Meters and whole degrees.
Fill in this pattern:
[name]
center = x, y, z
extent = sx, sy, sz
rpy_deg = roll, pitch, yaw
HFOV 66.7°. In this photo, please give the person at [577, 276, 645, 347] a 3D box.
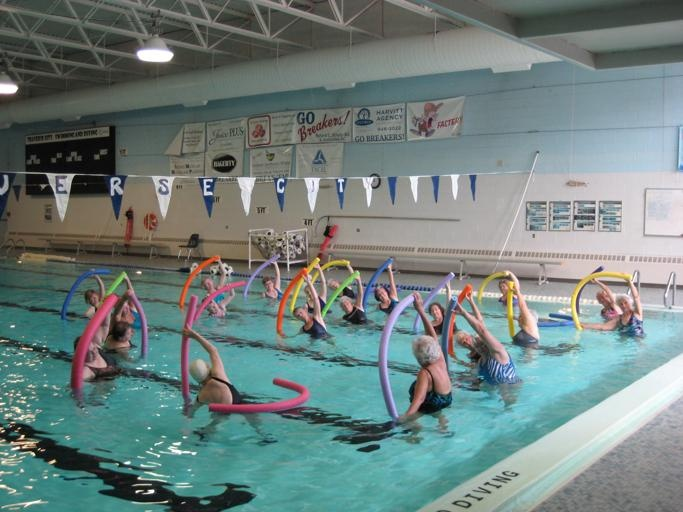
[person]
center = 3.994, 0.680, 7.537
extent = 0.803, 0.816, 0.713
rpy_deg = 6, 10, 41
